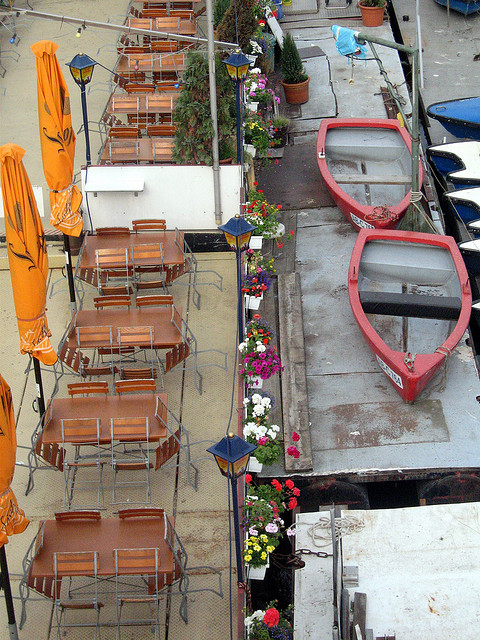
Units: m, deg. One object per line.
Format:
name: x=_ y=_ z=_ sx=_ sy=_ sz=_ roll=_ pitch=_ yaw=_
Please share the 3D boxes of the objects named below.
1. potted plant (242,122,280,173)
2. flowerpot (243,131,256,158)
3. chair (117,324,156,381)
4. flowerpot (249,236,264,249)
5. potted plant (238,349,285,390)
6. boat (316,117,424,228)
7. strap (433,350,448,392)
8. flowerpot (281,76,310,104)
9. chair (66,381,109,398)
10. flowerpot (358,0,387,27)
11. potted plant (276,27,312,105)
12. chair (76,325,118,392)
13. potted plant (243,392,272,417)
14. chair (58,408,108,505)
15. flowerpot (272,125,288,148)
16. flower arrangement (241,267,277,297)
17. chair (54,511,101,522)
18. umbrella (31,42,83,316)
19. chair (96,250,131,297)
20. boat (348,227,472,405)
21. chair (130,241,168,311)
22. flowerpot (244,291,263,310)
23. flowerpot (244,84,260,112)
potted plant: x=0.378 y=-3.465 z=15.819 sx=0.758 sy=0.768 sz=1.103 roll=-22 pitch=19 yaw=-9
flowerpot: x=0.159 y=-3.255 z=15.279 sx=0.204 sy=0.297 sz=0.251 roll=-3 pitch=55 yaw=-1
chair: x=-1.258 y=0.271 z=10.424 sx=0.521 sy=0.584 sz=0.795 roll=1 pitch=71 yaw=-14
flowerpot: x=0.215 y=-1.283 z=12.540 sx=0.160 sy=0.199 sz=0.199 roll=-1 pitch=42 yaw=-1
potted plant: x=0.232 y=0.593 z=10.754 sx=0.476 sy=0.674 sz=0.311 roll=-7 pitch=35 yaw=-4
boat: x=2.217 y=-2.642 z=15.326 sx=1.799 sy=0.884 sz=3.344 roll=1 pitch=42 yaw=-1
strap: x=2.608 y=0.613 z=11.482 sx=0.165 sy=0.646 sz=0.093 roll=1 pitch=52 yaw=16
flowerpot: x=1.181 y=-5.283 z=18.737 sx=0.580 sy=0.539 sz=0.550 roll=-4 pitch=35 yaw=0
chair: x=-1.724 y=0.748 z=9.882 sx=0.449 sy=0.298 sz=0.180 roll=1 pitch=56 yaw=-14
flowerpot: x=3.195 y=-7.894 z=21.272 sx=0.595 sy=0.469 sz=0.634 roll=-2 pitch=52 yaw=6
potted plant: x=1.123 y=-5.741 z=18.550 sx=0.589 sy=1.364 sz=0.615 roll=6 pitch=29 yaw=29
chair: x=-1.705 y=0.286 z=10.569 sx=0.463 sy=0.557 sz=0.806 roll=0 pitch=68 yaw=-26
potted plant: x=0.206 y=0.913 z=9.954 sx=0.265 sy=0.188 sz=0.283 roll=10 pitch=76 yaw=33
chair: x=-1.712 y=1.469 z=9.498 sx=0.598 sy=1.039 sz=0.762 roll=-4 pitch=54 yaw=-9
flowerpot: x=0.801 y=-3.914 z=17.156 sx=0.365 sy=0.422 sz=0.390 roll=0 pitch=54 yaw=5
flower arrangement: x=0.237 y=-0.650 z=12.133 sx=0.393 sy=0.182 sz=0.569 roll=3 pitch=23 yaw=2
chair: x=-1.558 y=1.886 z=8.362 sx=0.395 sy=0.129 sz=0.126 roll=2 pitch=43 yaw=-4
umbrella: x=-2.234 y=-1.871 z=11.198 sx=0.683 sy=3.586 sz=0.664 roll=-14 pitch=27 yaw=-27
chair: x=-1.761 y=-0.831 z=12.147 sx=0.482 sy=0.851 sz=0.581 roll=-6 pitch=29 yaw=-14
boat: x=2.342 y=-0.004 z=12.336 sx=1.461 sy=1.018 sz=2.795 roll=4 pitch=49 yaw=5
chair: x=-1.245 y=-0.739 z=11.875 sx=0.650 sy=1.149 sz=0.835 roll=-2 pitch=67 yaw=-6
flowerpot: x=0.172 y=-0.347 z=11.669 sx=0.228 sy=0.229 sz=0.188 roll=5 pitch=52 yaw=0
flowerpot: x=0.192 y=-4.246 z=15.945 sx=0.300 sy=0.448 sz=0.319 roll=-1 pitch=55 yaw=-1
